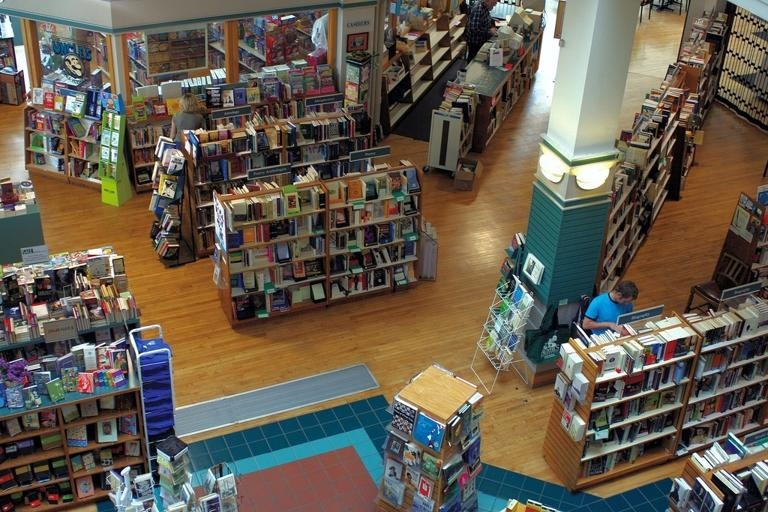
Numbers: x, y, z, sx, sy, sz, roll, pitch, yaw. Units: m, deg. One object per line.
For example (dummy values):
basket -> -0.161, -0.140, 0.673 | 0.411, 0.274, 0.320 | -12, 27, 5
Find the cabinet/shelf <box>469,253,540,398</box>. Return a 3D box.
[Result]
cabinet/shelf -> 2.113, 1.298, 10.971 | 0.864, 2.396, 1.266 | 0, 36, -22
